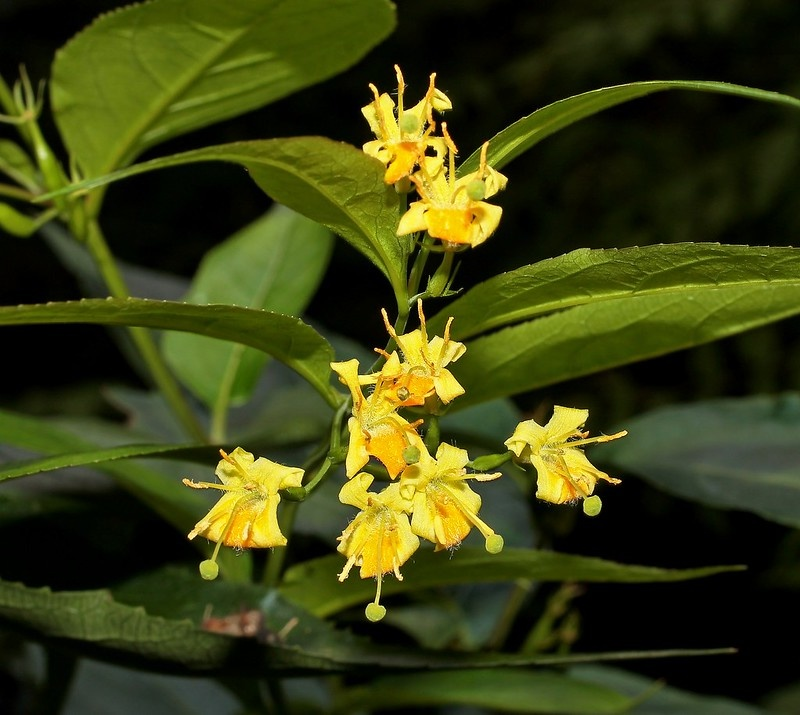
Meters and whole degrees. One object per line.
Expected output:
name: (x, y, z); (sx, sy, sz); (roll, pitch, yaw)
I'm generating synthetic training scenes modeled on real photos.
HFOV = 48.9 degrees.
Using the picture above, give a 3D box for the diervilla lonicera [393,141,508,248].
diervilla lonicera: (0.049, -0.142, 0.833); (0.114, 0.089, 0.091); (5, -14, 0)

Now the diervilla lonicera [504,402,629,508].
diervilla lonicera: (0.168, 0.093, 0.869); (0.094, 0.102, 0.161); (5, 7, 26)
